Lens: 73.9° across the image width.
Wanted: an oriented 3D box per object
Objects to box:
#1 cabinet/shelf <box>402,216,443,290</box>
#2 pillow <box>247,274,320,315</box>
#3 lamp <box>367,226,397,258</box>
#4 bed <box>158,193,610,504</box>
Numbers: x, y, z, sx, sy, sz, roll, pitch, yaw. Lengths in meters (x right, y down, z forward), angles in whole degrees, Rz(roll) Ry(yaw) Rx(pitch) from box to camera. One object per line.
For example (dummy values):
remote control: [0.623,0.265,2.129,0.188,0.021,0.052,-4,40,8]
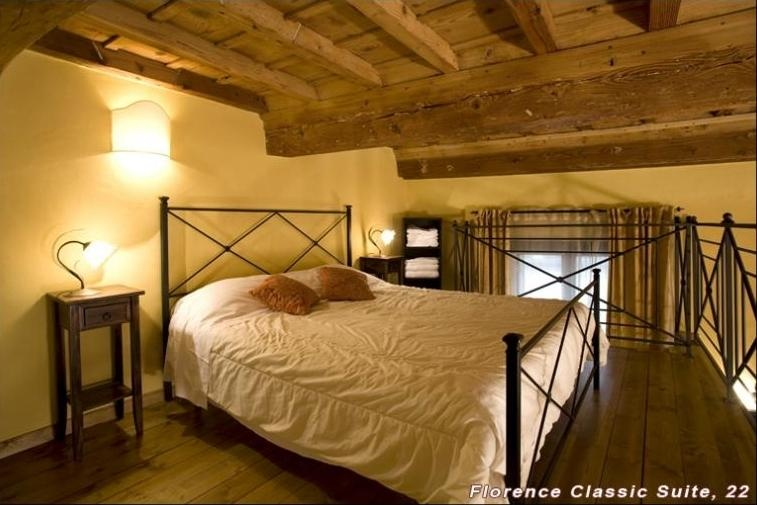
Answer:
cabinet/shelf: [0.588,0.008,7.043,0.572,0.967,0.391,1,-9,1]
pillow: [-0.821,0.361,4.365,0.404,0.106,0.393,21,15,25]
lamp: [0.139,-0.150,6.644,0.487,0.427,0.306,1,9,14]
bed: [0.052,0.537,3.634,2.123,1.114,2.070,2,5,33]
